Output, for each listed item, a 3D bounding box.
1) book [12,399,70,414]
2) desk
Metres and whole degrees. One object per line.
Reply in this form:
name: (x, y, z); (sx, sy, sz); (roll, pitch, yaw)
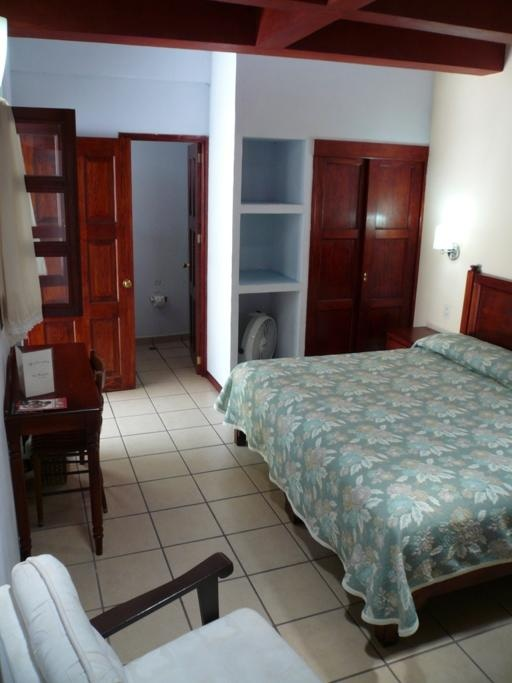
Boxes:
book: (-1.011, 0.299, 2.327); (0.221, 0.022, 0.191); (-6, 15, -25)
desk: (-1.045, 0.627, 2.664); (0.277, 0.543, 0.960); (-3, 16, -11)
